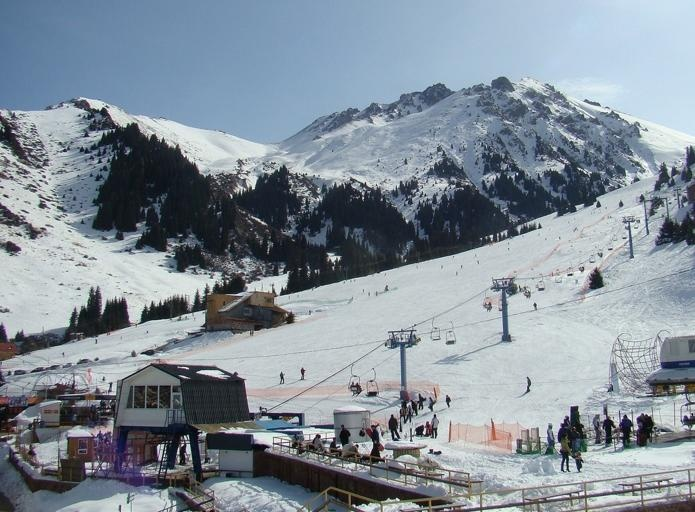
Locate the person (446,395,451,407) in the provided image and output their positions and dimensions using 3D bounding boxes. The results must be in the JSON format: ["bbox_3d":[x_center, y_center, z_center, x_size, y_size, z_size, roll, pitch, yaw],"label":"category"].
[{"bbox_3d":[8.770,12.524,72.765,0.390,0.906,1.244,-6,9,7],"label":"person"}]

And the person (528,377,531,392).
[{"bbox_3d":[16.022,11.245,73.913,0.396,1.005,1.602,-5,9,12],"label":"person"}]

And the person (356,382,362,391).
[{"bbox_3d":[1.114,12.266,77.719,0.508,0.794,0.948,-7,9,-1],"label":"person"}]
